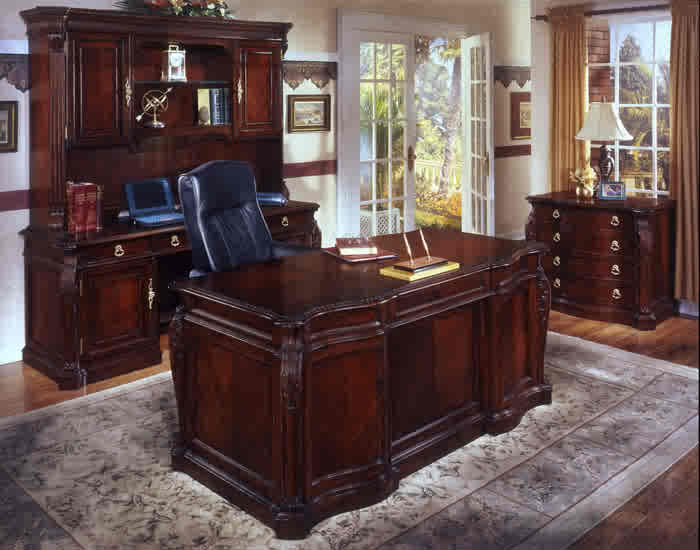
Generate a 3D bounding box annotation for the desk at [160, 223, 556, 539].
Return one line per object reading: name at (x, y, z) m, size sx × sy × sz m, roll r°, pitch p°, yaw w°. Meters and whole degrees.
desk at (0.102, 0.442, 3.020) m, size 1.927 × 0.999 × 0.855 m, roll -10°, pitch 16°, yaw -36°

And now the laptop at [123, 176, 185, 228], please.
laptop at (-1.453, -0.551, 4.309) m, size 0.426 × 0.312 × 0.507 m, roll 13°, pitch 17°, yaw 31°

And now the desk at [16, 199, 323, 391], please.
desk at (-1.204, 0.128, 3.426) m, size 0.420 × 0.561 × 1.209 m, roll 8°, pitch 15°, yaw 37°

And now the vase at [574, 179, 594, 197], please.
vase at (2.136, -0.802, 5.180) m, size 0.148 × 0.153 × 0.149 m, roll -1°, pitch 3°, yaw -11°

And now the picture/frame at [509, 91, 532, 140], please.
picture/frame at (2.160, -2.033, 7.208) m, size 0.439 × 0.603 × 0.049 m, roll -12°, pitch 17°, yaw -40°

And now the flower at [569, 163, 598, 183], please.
flower at (2.150, -0.933, 5.267) m, size 0.226 × 0.243 × 0.093 m, roll 3°, pitch -23°, yaw 15°

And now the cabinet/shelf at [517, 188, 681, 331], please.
cabinet/shelf at (2.117, -0.113, 4.711) m, size 0.527 × 0.932 × 1.056 m, roll -12°, pitch 15°, yaw -43°

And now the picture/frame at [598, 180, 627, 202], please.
picture/frame at (2.301, -0.755, 5.030) m, size 0.289 × 0.247 × 0.160 m, roll 5°, pitch 11°, yaw 33°
